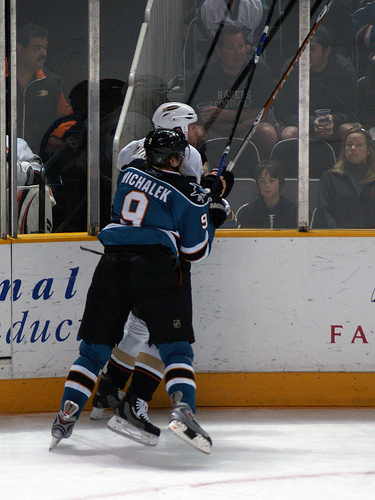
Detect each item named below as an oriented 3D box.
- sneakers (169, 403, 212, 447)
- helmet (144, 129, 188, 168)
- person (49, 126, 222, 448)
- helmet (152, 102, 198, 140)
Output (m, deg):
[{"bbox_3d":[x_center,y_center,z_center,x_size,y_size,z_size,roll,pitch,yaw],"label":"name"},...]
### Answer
[{"bbox_3d":[0.009,0.771,3.354,0.231,0.075,0.138,40,32,-15],"label":"sneakers"},{"bbox_3d":[-0.104,-0.462,3.501,0.169,0.142,0.218,4,9,43],"label":"helmet"},{"bbox_3d":[-0.207,0.168,3.429,0.731,1.420,0.634,2,7,2],"label":"person"},{"bbox_3d":[-0.059,-0.650,3.881,0.238,0.178,0.161,-5,17,-16],"label":"helmet"}]
